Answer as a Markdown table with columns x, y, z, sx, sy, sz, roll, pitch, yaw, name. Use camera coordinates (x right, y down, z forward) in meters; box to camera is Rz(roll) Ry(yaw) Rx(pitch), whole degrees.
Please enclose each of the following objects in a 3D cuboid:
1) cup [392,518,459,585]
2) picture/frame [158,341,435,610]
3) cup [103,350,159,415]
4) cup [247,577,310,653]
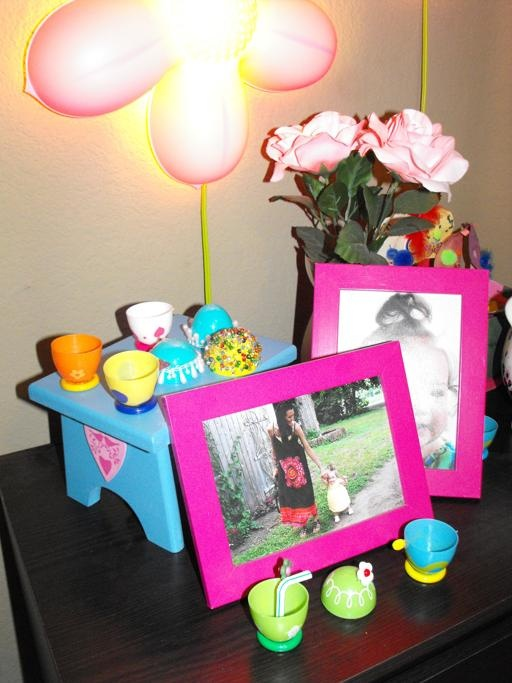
| x | y | z | sx | sy | sz | roll | pitch | yaw | name |
| --- | --- | --- | --- | --- | --- | --- | --- | --- | --- |
| 0.175 | 0.223 | 0.573 | 0.067 | 0.044 | 0.051 | 1 | 17 | 2 | cup |
| 0.041 | 0.150 | 0.573 | 0.259 | 0.187 | 0.032 | -15 | 6 | -23 | picture/frame |
| -0.130 | 0.040 | 0.615 | 0.070 | 0.055 | 0.072 | 0 | 22 | 0 | cup |
| 0.024 | 0.242 | 0.492 | 0.058 | 0.055 | 0.045 | -8 | 8 | -30 | cup |
